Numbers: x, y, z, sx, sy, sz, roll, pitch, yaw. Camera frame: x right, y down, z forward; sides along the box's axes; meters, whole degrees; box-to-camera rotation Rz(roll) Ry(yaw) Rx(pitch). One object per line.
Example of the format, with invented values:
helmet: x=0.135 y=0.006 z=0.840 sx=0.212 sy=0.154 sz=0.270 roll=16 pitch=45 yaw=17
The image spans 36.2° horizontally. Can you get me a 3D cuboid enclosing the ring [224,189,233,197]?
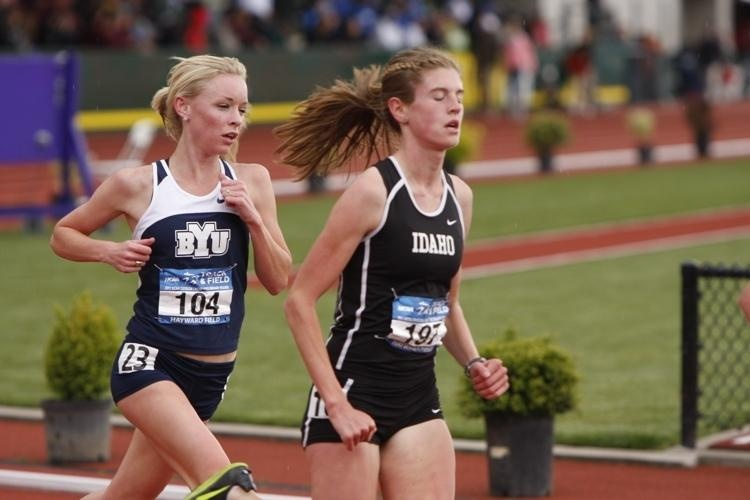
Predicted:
ring: x=-0.799 y=-0.307 z=6.249 sx=0.040 sy=0.013 sz=0.038 roll=2 pitch=47 yaw=-2

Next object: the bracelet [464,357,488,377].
bracelet: x=0.547 y=0.631 z=6.294 sx=0.110 sy=0.031 sz=0.110 roll=-24 pitch=-5 yaw=-6

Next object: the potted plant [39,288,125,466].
potted plant: x=-2.214 y=0.938 z=8.501 sx=0.565 sy=1.197 sz=0.536 roll=-5 pitch=-8 yaw=33

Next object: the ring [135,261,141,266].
ring: x=-1.268 y=0.075 z=6.185 sx=0.024 sy=0.023 sz=0.055 roll=2 pitch=4 yaw=20
